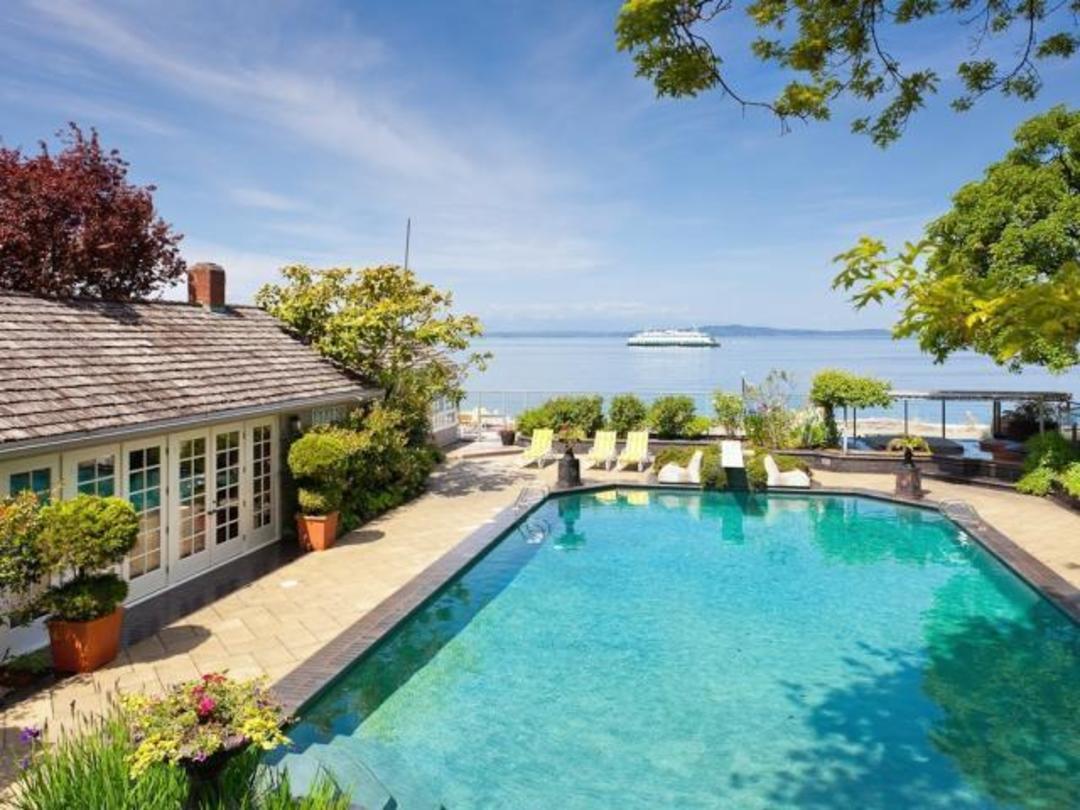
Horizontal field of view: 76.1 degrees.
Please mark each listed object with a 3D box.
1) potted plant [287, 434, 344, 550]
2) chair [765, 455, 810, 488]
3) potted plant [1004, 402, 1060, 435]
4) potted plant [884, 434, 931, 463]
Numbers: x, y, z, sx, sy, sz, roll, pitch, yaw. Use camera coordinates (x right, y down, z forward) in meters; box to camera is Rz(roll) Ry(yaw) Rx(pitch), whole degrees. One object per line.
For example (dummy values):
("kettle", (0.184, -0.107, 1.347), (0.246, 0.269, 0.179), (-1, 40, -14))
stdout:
("potted plant", (-4.913, 1.924, 15.490), (1.173, 2.522, 1.053), (-2, 11, -18))
("chair", (7.343, 1.994, 20.686), (1.033, 0.580, 0.997), (-1, -3, 15))
("potted plant", (17.938, 0.524, 25.335), (1.226, 0.748, 1.156), (1, -8, -1))
("potted plant", (12.534, 1.462, 23.557), (1.687, 0.695, 1.605), (1, 1, 8))
